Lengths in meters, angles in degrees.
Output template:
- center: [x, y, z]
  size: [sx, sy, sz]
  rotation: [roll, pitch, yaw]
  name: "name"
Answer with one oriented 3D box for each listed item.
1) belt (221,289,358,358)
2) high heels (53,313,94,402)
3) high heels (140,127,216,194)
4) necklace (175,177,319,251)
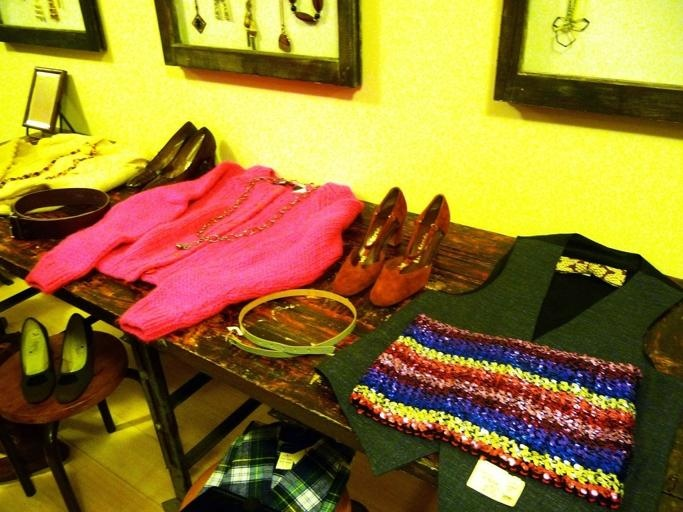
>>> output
- center: [-0.103, 0.148, 1.193]
  size: [0.270, 0.084, 0.237]
  rotation: [10, 21, 15]
  name: "belt"
- center: [-0.721, 0.294, 1.413]
  size: [0.102, 0.054, 0.264]
  rotation: [5, 19, -23]
  name: "high heels"
- center: [-0.536, -0.337, 1.768]
  size: [0.193, 0.193, 0.259]
  rotation: [8, 23, 2]
  name: "high heels"
- center: [-0.264, -0.117, 1.528]
  size: [0.384, 0.062, 0.213]
  rotation: [-23, 38, -30]
  name: "necklace"
